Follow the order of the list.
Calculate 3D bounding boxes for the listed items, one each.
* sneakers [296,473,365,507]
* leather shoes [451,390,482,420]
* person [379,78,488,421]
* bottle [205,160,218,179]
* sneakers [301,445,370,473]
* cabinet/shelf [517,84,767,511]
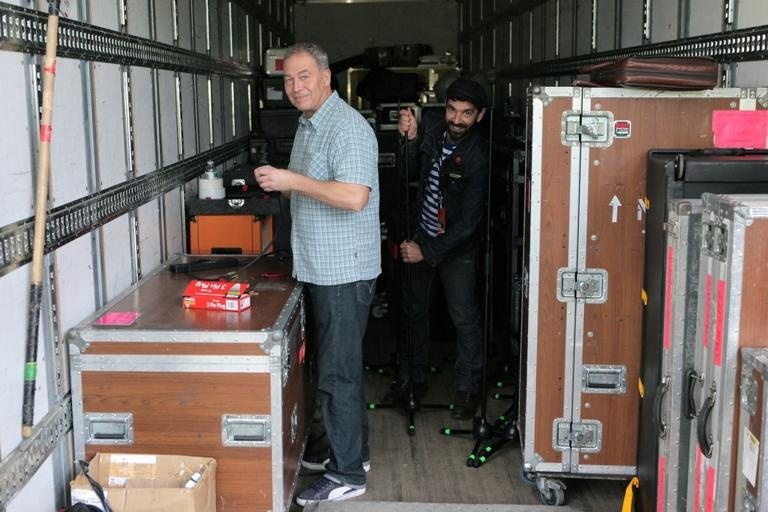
[{"bbox_3d":[-0.282,1.223,3.550,0.357,0.159,0.139,1,-1,-16],"label":"sneakers"},{"bbox_3d":[0.528,0.963,4.303,0.247,0.127,0.100,2,1,-12],"label":"leather shoes"},{"bbox_3d":[0.339,-0.041,4.299,0.625,2.130,0.586,2,9,8],"label":"person"},{"bbox_3d":[-1.081,-0.537,4.136,0.094,0.100,0.187,-4,11,-25],"label":"bottle"},{"bbox_3d":[-0.260,1.140,3.790,0.406,0.178,0.157,4,4,-5],"label":"sneakers"},{"bbox_3d":[1.109,0.160,3.276,0.844,1.926,0.221,0,8,-6],"label":"cabinet/shelf"}]
